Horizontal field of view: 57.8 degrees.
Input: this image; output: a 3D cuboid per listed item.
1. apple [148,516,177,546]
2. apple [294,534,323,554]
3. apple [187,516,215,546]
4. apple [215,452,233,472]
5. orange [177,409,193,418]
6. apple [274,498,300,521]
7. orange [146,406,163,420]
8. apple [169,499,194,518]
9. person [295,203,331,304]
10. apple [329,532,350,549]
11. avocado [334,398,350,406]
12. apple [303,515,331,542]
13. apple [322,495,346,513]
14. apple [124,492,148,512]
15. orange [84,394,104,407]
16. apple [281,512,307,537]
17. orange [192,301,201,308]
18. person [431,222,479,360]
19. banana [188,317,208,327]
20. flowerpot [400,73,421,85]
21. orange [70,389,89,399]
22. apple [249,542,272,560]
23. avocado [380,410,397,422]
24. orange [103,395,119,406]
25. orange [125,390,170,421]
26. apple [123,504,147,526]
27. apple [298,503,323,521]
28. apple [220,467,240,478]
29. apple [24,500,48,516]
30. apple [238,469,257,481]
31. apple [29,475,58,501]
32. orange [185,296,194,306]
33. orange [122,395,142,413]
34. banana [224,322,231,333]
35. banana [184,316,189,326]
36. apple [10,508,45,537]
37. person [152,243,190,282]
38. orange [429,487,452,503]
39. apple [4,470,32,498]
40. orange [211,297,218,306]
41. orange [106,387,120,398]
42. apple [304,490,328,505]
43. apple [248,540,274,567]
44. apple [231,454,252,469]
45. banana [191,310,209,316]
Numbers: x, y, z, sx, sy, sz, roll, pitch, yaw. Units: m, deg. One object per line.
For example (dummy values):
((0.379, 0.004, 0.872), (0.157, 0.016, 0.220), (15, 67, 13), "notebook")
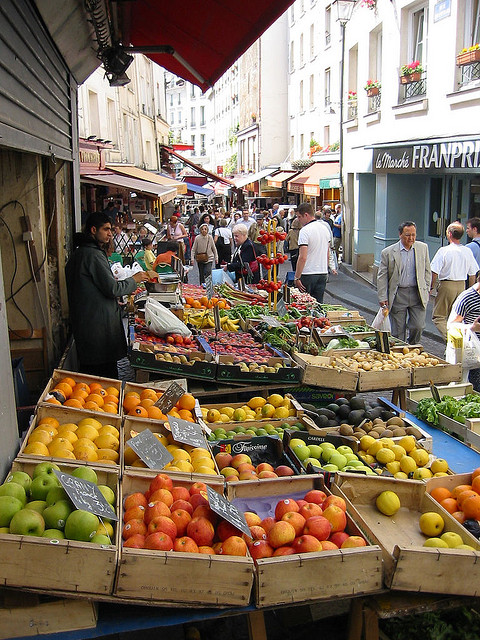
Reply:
((-0.330, 0.868, 1.849), (0.093, 0.093, 0.092), (19, 18, 39), "apple")
((0.296, 0.950, 1.852), (0.082, 0.071, 0.071), (9, 4, -12), "apple")
((-0.177, 0.897, 1.885), (0.095, 0.097, 0.095), (-17, -8, -14), "apple")
((-0.102, 0.982, 2.970), (0.089, 0.092, 0.092), (1, -17, -6), "apple")
((-0.457, 0.766, 3.632), (0.074, 0.089, 0.073), (13, -2, -9), "orange")
((0.245, 0.933, 2.189), (0.093, 0.120, 0.099), (11, -5, -28), "apple")
((-0.686, 0.752, 3.501), (0.090, 0.095, 0.110), (-3, -26, -13), "orange")
((-0.277, 0.883, 2.067), (0.078, 0.097, 0.079), (-7, 20, -25), "apple")
((1.477, -1.337, 8.990), (1.024, 2.057, 0.489), (-9, 15, -41), "person")
((0.459, 1.022, 2.034), (0.053, 0.066, 0.054), (-14, -10, -5), "apple")
((1.019, 0.809, 4.304), (0.086, 0.076, 0.074), (5, -16, -32), "avocado")
((0.358, 0.952, 2.038), (0.122, 0.106, 0.108), (13, 19, 6), "apple")
((0.488, 0.940, 2.251), (0.092, 0.097, 0.091), (-2, 10, -4), "apple")
((-0.533, 0.903, 2.197), (0.083, 0.086, 0.084), (2, 18, -11), "apple")
((-1.182, 0.648, 3.503), (0.101, 0.056, 0.101), (32, -3, 21), "orange")
((0.253, 0.940, 2.047), (0.085, 0.088, 0.085), (-27, 10, -14), "apple")
((-0.764, -0.272, 7.617), (0.108, 0.112, 0.132), (-4, -33, -10), "orange")
((3.962, -0.527, 8.163), (0.757, 2.536, 0.738), (10, 14, 39), "person")
((-0.664, 0.031, 6.743), (0.304, 0.110, 0.097), (1, 11, -1), "banana")
((5.234, -7.441, 13.362), (0.439, 0.271, 0.824), (3, 12, 6), "flowerpot")
((-1.329, 0.613, 3.591), (0.152, 0.056, 0.146), (-5, 13, -27), "orange")
((0.087, 0.997, 1.885), (0.100, 0.035, 0.076), (2, 12, 4), "apple")
((1.347, 0.865, 3.964), (0.100, 0.101, 0.079), (-18, 3, 16), "avocado")
((-1.075, 0.659, 3.630), (0.081, 0.081, 0.081), (19, 7, -3), "orange")
((-0.802, 0.703, 3.591), (0.230, 0.104, 0.249), (8, 11, -17), "orange")
((-0.491, 0.907, 2.059), (0.074, 0.093, 0.075), (13, -25, 42), "apple")
((0.356, 0.953, 2.181), (0.062, 0.066, 0.062), (-13, -4, -14), "apple")
((-0.081, 0.965, 2.768), (0.072, 0.062, 0.061), (-23, -4, 16), "apple")
((-0.833, 0.755, 1.775), (0.070, 0.044, 0.056), (24, 14, -14), "apple")
((0.043, 0.945, 2.674), (0.068, 0.065, 0.067), (-34, -26, 8), "apple")
((-0.865, 0.735, 1.925), (0.110, 0.115, 0.108), (10, -30, -26), "apple")
((-0.898, -0.352, 7.683), (0.130, 0.154, 0.133), (-14, -25, -9), "orange")
((-0.909, 0.685, 3.629), (0.118, 0.140, 0.121), (-13, 47, -26), "orange")
((-0.207, 0.103, 6.711), (0.061, 0.179, 0.041), (-12, -14, -13), "banana")
((-0.834, 0.008, 6.712), (0.029, 0.132, 0.035), (8, -41, -5), "banana")
((-0.774, 0.747, 1.576), (0.112, 0.095, 0.116), (-4, 13, -25), "apple")
((-1.587, -1.299, 9.720), (0.578, 0.783, 2.515), (0, 12, -9), "person")
((1.222, 1.063, 2.656), (0.086, 0.074, 0.072), (-13, -8, 40), "orange")
((-1.008, 0.731, 2.003), (0.125, 0.113, 0.108), (-7, -2, -1), "apple")
((-0.459, -0.336, 7.625), (0.116, 0.143, 0.118), (-4, -5, 0), "orange")
((-1.127, 0.630, 3.840), (0.088, 0.108, 0.088), (-8, 2, -43), "orange")
((0.394, 0.957, 2.345), (0.083, 0.070, 0.068), (-1, -32, 19), "apple")
((0.091, 0.990, 1.888), (0.080, 0.085, 0.083), (10, 17, 44), "apple")
((-0.001, 0.957, 2.950), (0.080, 0.100, 0.082), (1, -9, -6), "apple")
((-0.645, -0.148, 6.996), (0.381, 0.068, 0.078), (-10, 39, -41), "banana")
